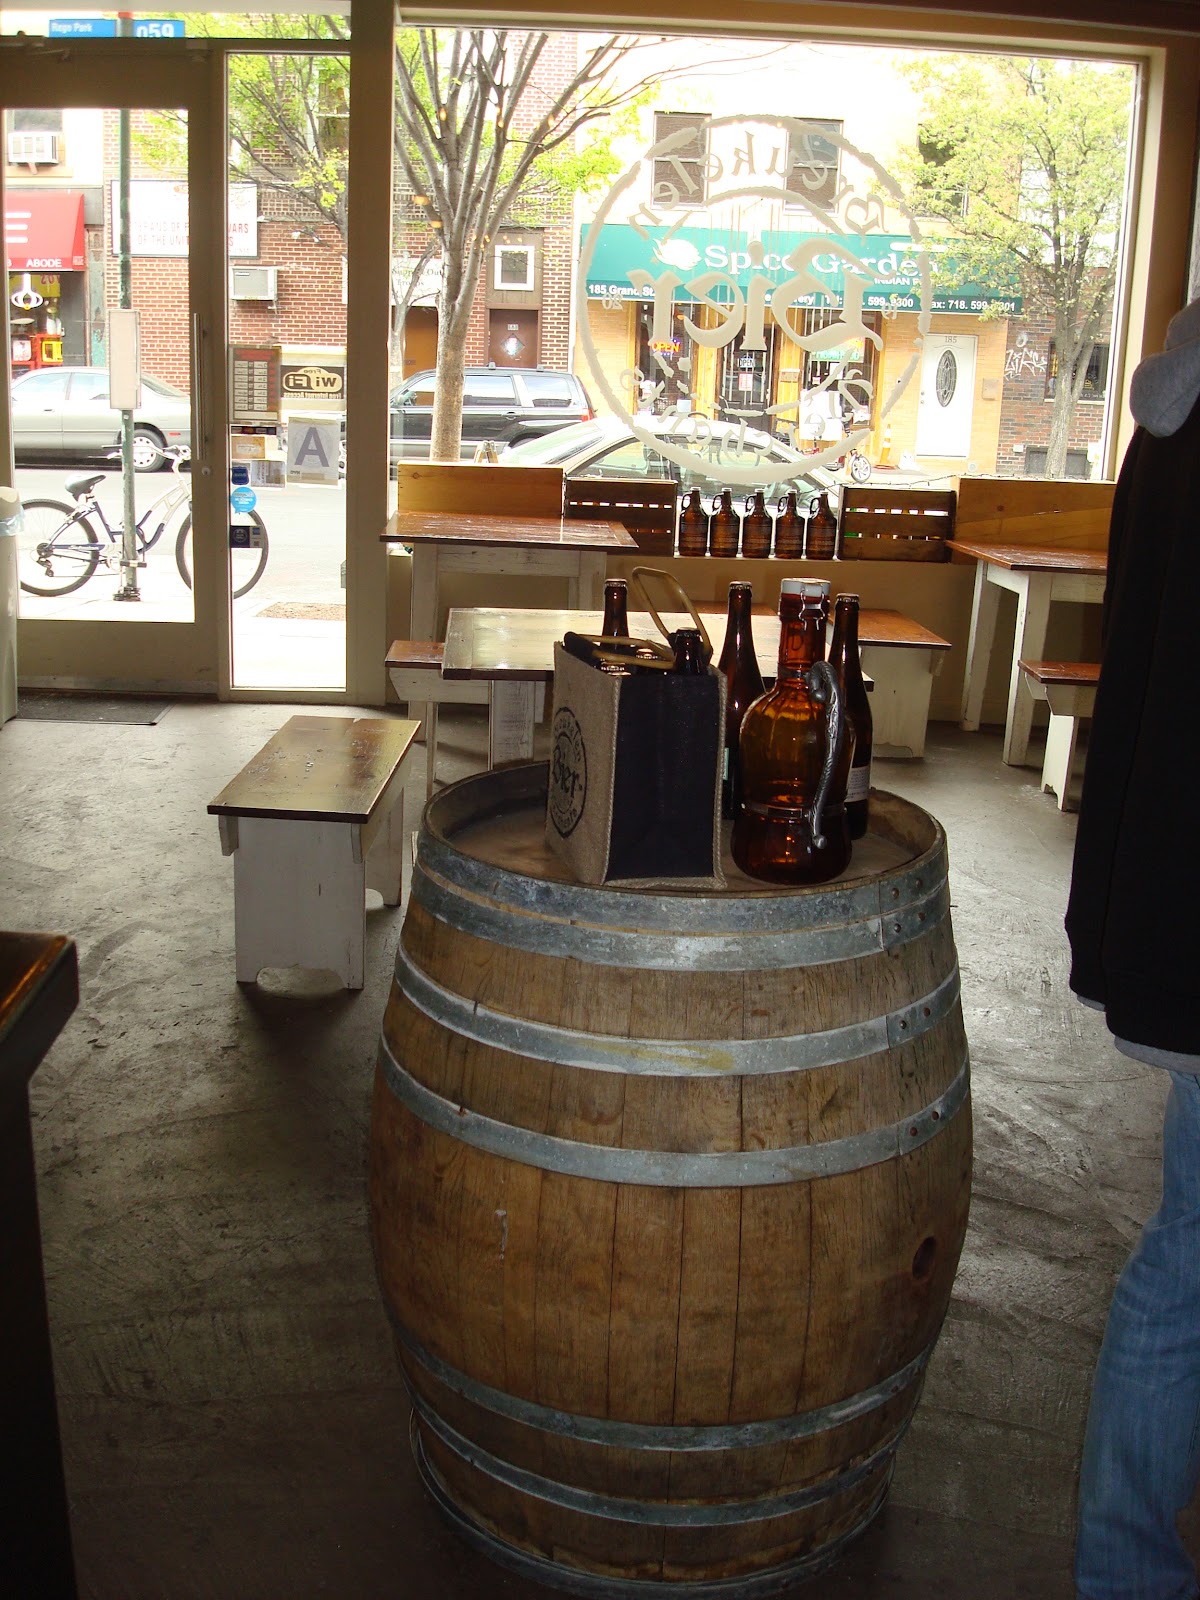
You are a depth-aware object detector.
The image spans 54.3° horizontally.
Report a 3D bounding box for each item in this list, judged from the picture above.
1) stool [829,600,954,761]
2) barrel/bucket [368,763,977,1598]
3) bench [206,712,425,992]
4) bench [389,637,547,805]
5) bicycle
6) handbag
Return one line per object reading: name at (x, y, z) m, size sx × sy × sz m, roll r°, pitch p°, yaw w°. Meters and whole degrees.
stool at (1.293, -0.492, 5.112) m, size 0.345 × 0.492 × 0.522 m, roll 6°, pitch 17°, yaw 12°
barrel/bucket at (0.044, 0.299, 1.158) m, size 0.566 × 0.664 × 0.632 m, roll 3°, pitch 18°, yaw 3°
bench at (-0.648, 0.134, 2.679) m, size 0.221 × 0.302 × 0.604 m, roll 5°, pitch 24°, yaw 4°
bench at (-0.466, -0.305, 4.220) m, size 0.434 × 0.450 × 0.515 m, roll 7°, pitch 20°, yaw 25°
bicycle at (-2.121, -1.357, 5.659) m, size 1.117 × 0.709 × 0.577 m, roll 0°, pitch 29°, yaw -7°
handbag at (0.020, -0.042, 0.968) m, size 0.097 × 0.190 × 0.188 m, roll -3°, pitch 12°, yaw -16°
